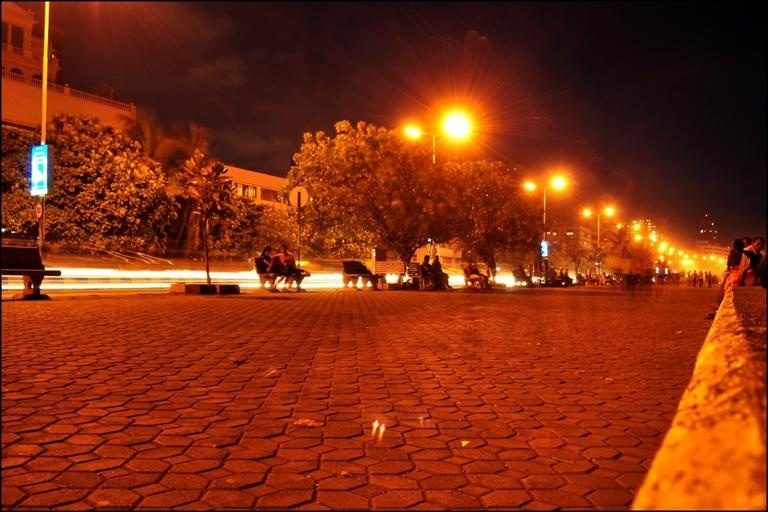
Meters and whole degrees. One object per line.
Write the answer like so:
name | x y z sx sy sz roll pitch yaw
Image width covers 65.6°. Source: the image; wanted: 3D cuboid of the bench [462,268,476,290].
bench | 5.231 1.222 34.736 1.003 1.346 0.925 -2 -2 32

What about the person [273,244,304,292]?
person | -3.761 0.693 23.759 0.589 1.811 1.331 -17 25 -8

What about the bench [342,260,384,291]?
bench | -1.164 0.972 30.670 1.286 0.985 2.111 2 3 3

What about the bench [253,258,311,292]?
bench | -4.398 0.853 25.350 0.712 0.925 1.476 -23 -18 30

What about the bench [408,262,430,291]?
bench | 1.724 1.082 29.964 0.944 1.326 0.314 3 -12 5
